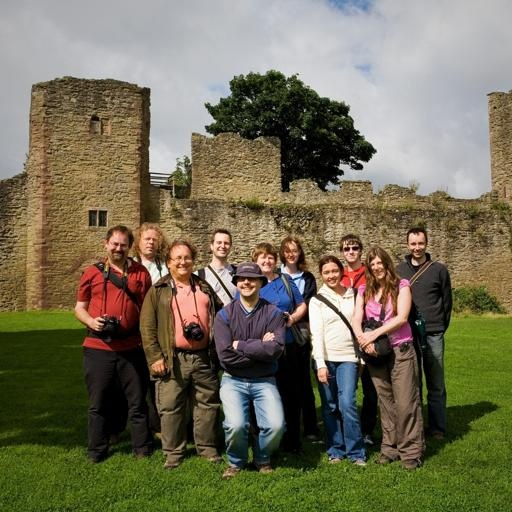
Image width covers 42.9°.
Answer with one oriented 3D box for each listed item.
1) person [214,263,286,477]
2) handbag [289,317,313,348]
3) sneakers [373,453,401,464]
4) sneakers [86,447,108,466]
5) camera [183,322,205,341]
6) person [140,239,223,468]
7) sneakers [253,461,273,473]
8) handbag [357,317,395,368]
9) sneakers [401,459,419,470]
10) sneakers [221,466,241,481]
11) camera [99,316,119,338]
[{"bbox_3d":[-0.059,1.102,6.543,0.724,2.053,0.603,0,3,-3],"label":"person"},{"bbox_3d":[0.510,0.848,7.025,0.209,0.251,0.092,-6,-18,-12],"label":"handbag"},{"bbox_3d":[1.370,2.102,6.738,0.271,0.109,0.089,8,-9,-13],"label":"sneakers"},{"bbox_3d":[-1.627,2.052,6.717,0.217,0.116,0.227,-1,4,-17],"label":"sneakers"},{"bbox_3d":[-0.649,0.783,6.719,0.198,0.198,0.175,-1,3,-16],"label":"camera"},{"bbox_3d":[-0.788,0.972,6.798,0.863,2.263,0.702,0,3,-4],"label":"person"},{"bbox_3d":[0.068,2.100,6.485,0.198,0.070,0.200,0,3,1],"label":"sneakers"},{"bbox_3d":[1.258,0.893,6.753,0.402,0.552,0.309,-17,-8,12],"label":"handbag"},{"bbox_3d":[1.562,2.084,6.532,0.195,0.081,0.128,0,3,9],"label":"sneakers"},{"bbox_3d":[-0.239,2.113,6.354,0.125,0.075,0.209,2,4,30],"label":"sneakers"},{"bbox_3d":[-1.477,0.713,6.712,0.267,0.252,0.199,2,22,-12],"label":"camera"}]
